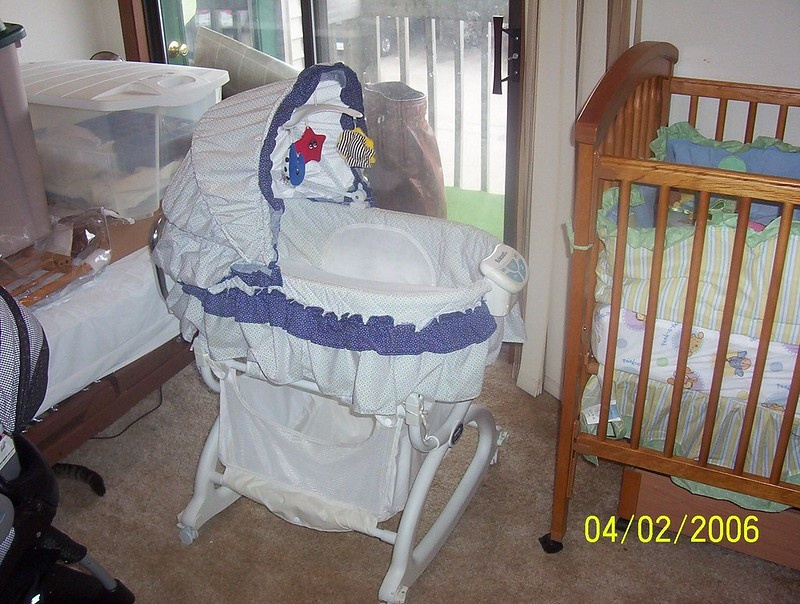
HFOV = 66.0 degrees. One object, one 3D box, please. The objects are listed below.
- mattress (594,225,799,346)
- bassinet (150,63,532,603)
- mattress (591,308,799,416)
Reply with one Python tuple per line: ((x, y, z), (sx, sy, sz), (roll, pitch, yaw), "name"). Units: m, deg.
((0.765, -0.063, 1.574), (0.507, 0.280, 0.076), (11, 31, 19), "mattress")
((-0.184, 0.078, 1.846), (1.057, 1.429, 0.730), (10, 30, 17), "bassinet")
((0.911, 0.083, 1.841), (0.549, 0.276, 0.118), (13, 21, 24), "mattress")
